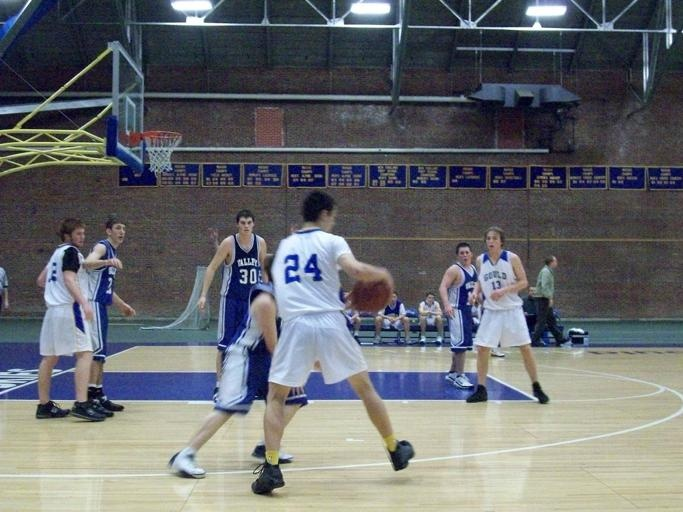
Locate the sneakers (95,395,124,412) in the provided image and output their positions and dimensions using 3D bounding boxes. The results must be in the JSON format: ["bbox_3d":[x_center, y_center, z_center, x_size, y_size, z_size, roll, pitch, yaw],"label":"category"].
[{"bbox_3d":[-3.396,2.206,13.769,0.496,0.199,0.160,4,-3,-11],"label":"sneakers"}]

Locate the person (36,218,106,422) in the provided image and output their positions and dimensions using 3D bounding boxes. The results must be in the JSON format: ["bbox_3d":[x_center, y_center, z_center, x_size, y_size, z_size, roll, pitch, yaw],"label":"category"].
[{"bbox_3d":[-3.980,0.936,13.433,0.964,2.823,1.060,-3,14,-19],"label":"person"}]

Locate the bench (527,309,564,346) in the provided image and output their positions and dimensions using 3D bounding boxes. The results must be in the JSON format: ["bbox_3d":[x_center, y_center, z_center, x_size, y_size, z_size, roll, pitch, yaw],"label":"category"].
[{"bbox_3d":[4.288,1.497,19.681,0.876,0.784,0.626,1,-5,1],"label":"bench"}]

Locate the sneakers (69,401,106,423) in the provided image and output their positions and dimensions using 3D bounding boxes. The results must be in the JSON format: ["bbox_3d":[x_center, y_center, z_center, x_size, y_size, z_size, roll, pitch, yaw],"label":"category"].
[{"bbox_3d":[-3.657,2.258,13.411,0.579,0.254,0.230,10,-5,-10],"label":"sneakers"}]

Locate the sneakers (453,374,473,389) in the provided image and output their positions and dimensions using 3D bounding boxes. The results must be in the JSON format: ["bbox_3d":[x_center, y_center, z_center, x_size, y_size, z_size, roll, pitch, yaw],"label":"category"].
[{"bbox_3d":[1.987,2.051,14.961,0.150,0.142,0.323,5,-7,-26],"label":"sneakers"}]

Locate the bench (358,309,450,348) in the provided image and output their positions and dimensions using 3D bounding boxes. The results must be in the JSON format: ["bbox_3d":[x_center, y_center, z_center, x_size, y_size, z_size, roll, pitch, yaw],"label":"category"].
[{"bbox_3d":[1.276,1.626,20.006,1.952,0.772,0.595,0,-15,3],"label":"bench"}]

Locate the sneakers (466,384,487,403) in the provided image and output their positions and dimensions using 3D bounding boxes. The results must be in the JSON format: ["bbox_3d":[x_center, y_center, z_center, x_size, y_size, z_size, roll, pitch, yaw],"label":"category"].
[{"bbox_3d":[2.097,2.101,14.174,0.341,0.249,0.233,2,13,3],"label":"sneakers"}]

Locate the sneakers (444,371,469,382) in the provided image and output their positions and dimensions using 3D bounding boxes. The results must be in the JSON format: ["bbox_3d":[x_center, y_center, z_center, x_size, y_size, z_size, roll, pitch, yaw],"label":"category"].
[{"bbox_3d":[1.846,1.975,15.148,0.375,0.152,0.134,-2,-5,31],"label":"sneakers"}]
